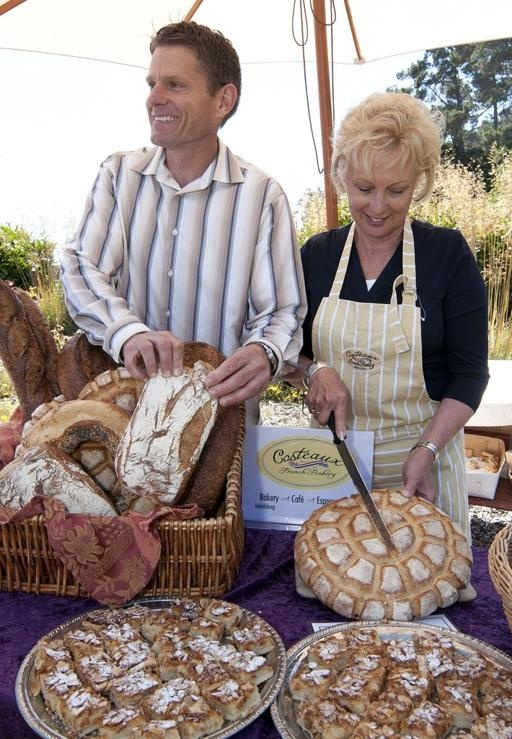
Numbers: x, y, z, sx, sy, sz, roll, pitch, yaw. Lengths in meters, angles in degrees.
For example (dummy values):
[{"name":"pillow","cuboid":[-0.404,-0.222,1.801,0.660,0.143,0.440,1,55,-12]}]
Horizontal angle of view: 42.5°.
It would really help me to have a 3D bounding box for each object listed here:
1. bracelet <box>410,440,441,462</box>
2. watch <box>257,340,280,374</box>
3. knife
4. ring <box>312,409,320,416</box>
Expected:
[{"name":"bracelet","cuboid":[0.488,0.234,1.901,0.071,0.044,0.066,2,14,21]},{"name":"watch","cuboid":[0.032,-0.029,1.819,0.058,0.096,0.045,-1,14,11]},{"name":"knife","cuboid":[0.221,0.274,1.643,0.066,0.036,0.421,20,31,-37]},{"name":"ring","cuboid":[0.183,0.130,2.006,0.005,0.018,0.020,-18,10,-39]}]
